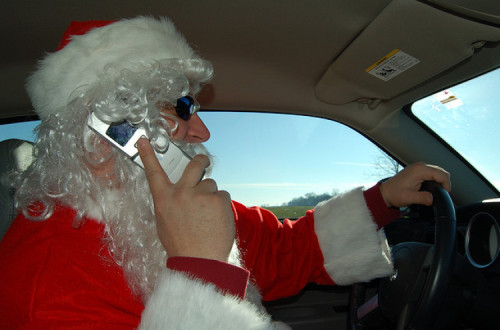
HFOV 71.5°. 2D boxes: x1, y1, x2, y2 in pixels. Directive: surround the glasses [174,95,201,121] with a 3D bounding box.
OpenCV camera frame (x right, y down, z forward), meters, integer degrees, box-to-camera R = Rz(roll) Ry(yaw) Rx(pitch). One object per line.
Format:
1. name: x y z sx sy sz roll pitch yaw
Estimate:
1. glasses: -0.359 -0.327 1.968 0.122 0.126 0.039 22 25 -48
